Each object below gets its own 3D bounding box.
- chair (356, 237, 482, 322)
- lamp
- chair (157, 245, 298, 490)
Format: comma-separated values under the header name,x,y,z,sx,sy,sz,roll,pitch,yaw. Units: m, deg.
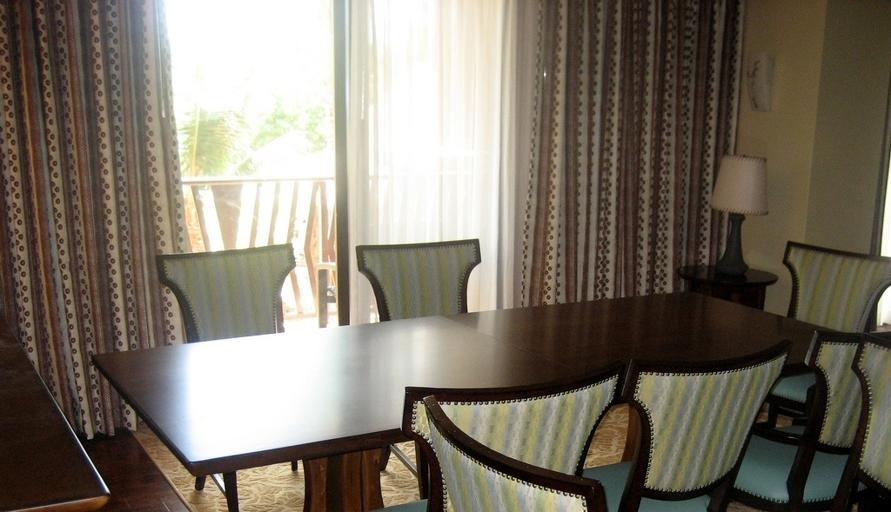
name,x,y,z,sx,sy,sz,roll,pitch,yaw
chair,-0.209,0.089,4.329,0.566,0.790,0.554,-5,12,-19
lamp,2.241,-0.315,5.244,0.387,0.930,0.292,4,17,20
chair,-1.206,0.267,3.799,0.569,0.799,0.582,-5,11,-21
